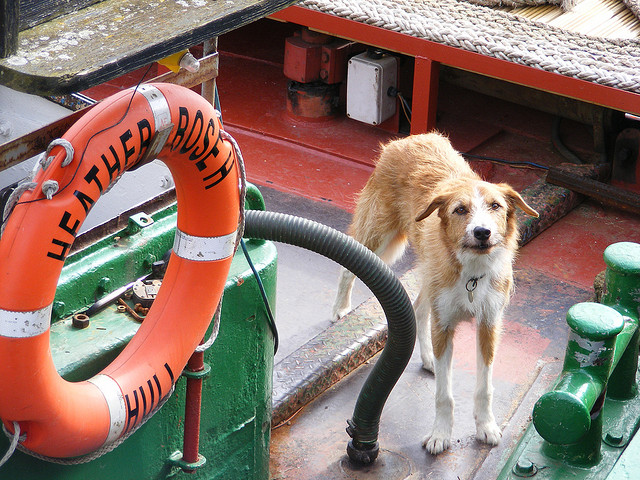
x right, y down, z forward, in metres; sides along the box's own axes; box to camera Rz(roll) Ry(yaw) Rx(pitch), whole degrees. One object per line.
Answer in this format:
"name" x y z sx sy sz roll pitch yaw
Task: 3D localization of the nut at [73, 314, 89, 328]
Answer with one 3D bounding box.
"nut" -0.963 0.324 2.531 0.050 0.034 0.046 6 9 0
